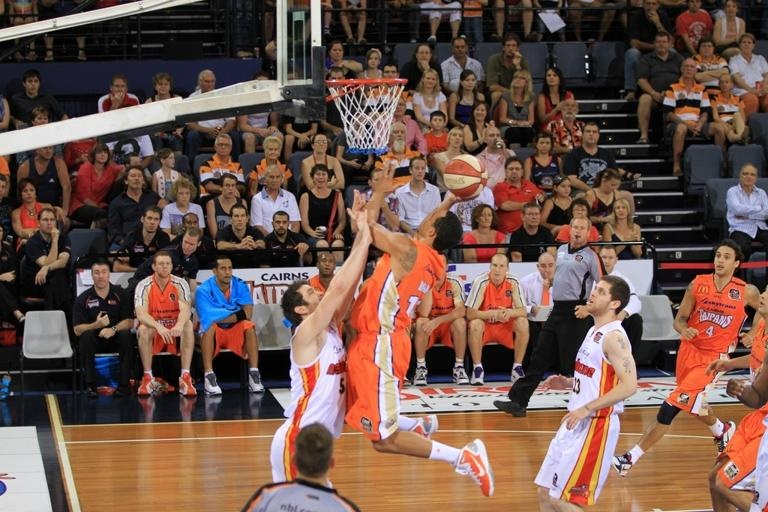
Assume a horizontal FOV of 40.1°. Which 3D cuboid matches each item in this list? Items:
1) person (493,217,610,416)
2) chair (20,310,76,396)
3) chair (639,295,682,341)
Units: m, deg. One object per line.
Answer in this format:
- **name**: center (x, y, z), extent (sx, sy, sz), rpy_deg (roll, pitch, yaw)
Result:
- **person**: center (2.054, 0.753, 13.528), extent (1.416, 2.707, 0.984), rpy_deg (2, 5, -29)
- **chair**: center (-4.762, 1.333, 15.002), extent (0.729, 1.172, 0.672), rpy_deg (0, 2, -14)
- **chair**: center (4.063, 0.931, 15.824), extent (0.565, 0.727, 0.298), rpy_deg (-2, -1, 0)
